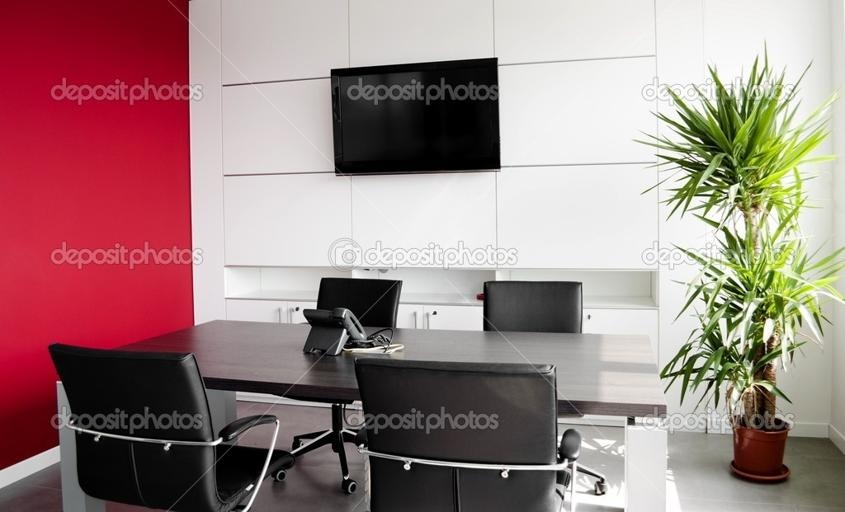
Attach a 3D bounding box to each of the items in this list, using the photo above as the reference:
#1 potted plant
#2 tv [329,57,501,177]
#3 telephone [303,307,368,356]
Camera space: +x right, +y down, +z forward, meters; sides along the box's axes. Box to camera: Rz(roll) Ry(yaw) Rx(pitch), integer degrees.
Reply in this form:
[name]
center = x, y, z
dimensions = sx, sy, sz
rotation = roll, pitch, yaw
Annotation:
[potted plant]
center = 2.676, 0.000, 5.023
dimensions = 1.554, 3.531, 1.532
rotation = 2, 7, 26
[tv]
center = -0.078, -1.358, 5.942
dimensions = 1.679, 1.044, 0.129
rotation = 0, 6, 11
[telephone]
center = -0.649, 0.536, 4.566
dimensions = 0.391, 0.305, 0.507
rotation = 1, 2, 18
